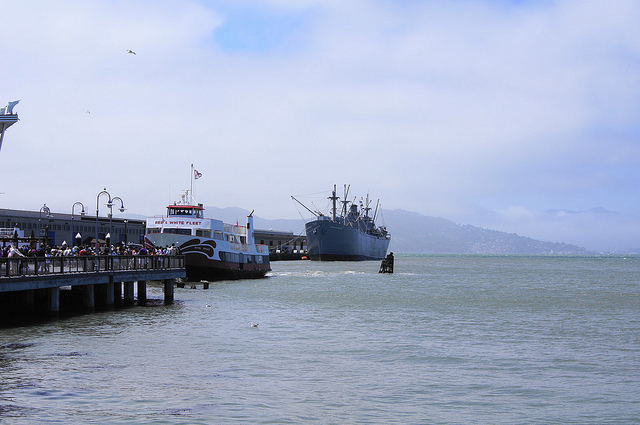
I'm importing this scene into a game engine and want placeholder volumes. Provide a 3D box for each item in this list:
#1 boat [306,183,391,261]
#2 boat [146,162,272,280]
[{"bbox_3d":[7.937,3.496,210.885,11.495,15.737,42.141,3,-2,20],"label":"boat"},{"bbox_3d":[-14.159,4.038,107.615,9.738,10.921,27.966,-3,-10,15],"label":"boat"}]
